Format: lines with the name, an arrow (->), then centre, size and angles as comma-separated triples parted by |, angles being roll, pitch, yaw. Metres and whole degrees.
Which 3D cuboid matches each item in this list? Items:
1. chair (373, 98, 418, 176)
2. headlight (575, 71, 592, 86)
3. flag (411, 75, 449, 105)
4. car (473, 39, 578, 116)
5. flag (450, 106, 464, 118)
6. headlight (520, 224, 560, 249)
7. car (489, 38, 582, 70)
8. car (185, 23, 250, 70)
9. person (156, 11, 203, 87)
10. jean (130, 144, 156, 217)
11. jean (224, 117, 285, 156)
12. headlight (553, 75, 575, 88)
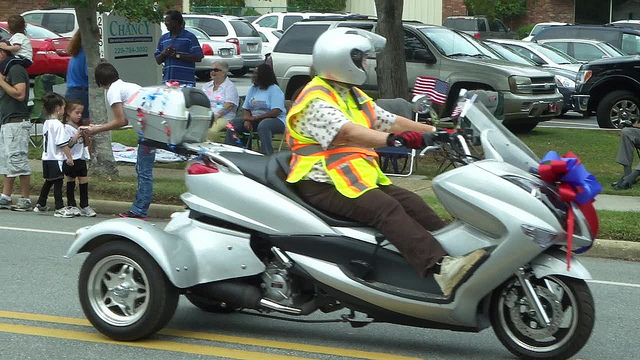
chair -> 1.346, -0.730, 13.662 | 1.054, 1.330, 1.007 | 5, 8, -16
headlight -> 6.785, -2.619, 18.617 | 0.173, 0.377, 0.484 | 0, 9, -19
flag -> 2.222, -1.848, 14.557 | 0.764, 0.470, 0.074 | 25, 29, 34
car -> 4.970, -3.002, 19.900 | 2.077, 1.328, 4.238 | -7, 23, -20
flag -> 1.551, -0.770, 8.192 | 0.090, 0.131, 0.037 | 36, 10, 30
headlight -> 2.344, 0.603, 7.656 | 0.372, 0.128, 0.189 | 5, -34, 11
car -> 6.932, -3.913, 22.313 | 3.027, 0.906, 1.329 | 12, 23, 29
car -> -4.603, -5.146, 27.420 | 1.786, 1.298, 4.022 | -11, 26, -39
person -> -2.925, -2.704, 14.817 | 0.935, 1.500, 0.623 | 1, 9, -8
jean -> -2.564, 0.031, 11.174 | 0.448, 1.372, 0.602 | 1, 2, -30
jean -> -1.320, -0.890, 14.428 | 1.218, 0.803, 0.838 | 3, 1, 0
headlight -> 6.978, -2.799, 20.516 | 0.515, 0.327, 0.378 | 5, 9, 18
